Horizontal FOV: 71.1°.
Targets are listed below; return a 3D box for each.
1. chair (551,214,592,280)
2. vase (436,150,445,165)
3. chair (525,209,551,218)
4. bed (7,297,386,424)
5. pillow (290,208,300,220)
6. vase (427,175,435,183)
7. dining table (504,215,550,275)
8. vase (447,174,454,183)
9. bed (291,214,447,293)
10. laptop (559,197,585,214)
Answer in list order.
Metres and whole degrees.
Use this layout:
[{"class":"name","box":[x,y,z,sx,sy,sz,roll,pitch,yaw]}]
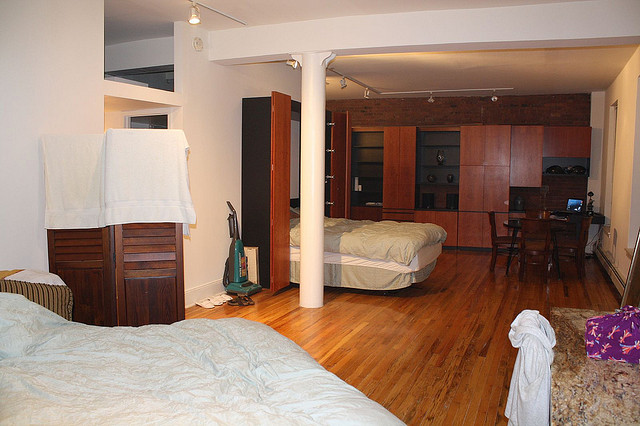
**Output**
[{"class":"chair","box":[4.254,0.542,7.541,0.541,1.064,0.976,7,12,31]},{"class":"vase","box":[2.773,-1.289,10.246,0.170,0.329,0.243,3,11,14]},{"class":"chair","box":[3.819,0.007,7.815,0.363,0.243,0.368,2,4,37]},{"class":"bed","box":[-0.940,0.866,2.667,2.324,0.334,0.993,1,10,6]},{"class":"pillow","box":[-0.425,0.028,7.298,0.148,0.128,0.108,-7,10,-30]},{"class":"vase","box":[2.548,-0.793,10.244,0.134,0.134,0.126,34,11,23]},{"class":"dining table","box":[3.423,0.497,7.835,0.920,1.028,0.935,-1,7,12]},{"class":"vase","box":[2.952,-0.792,10.163,0.144,0.159,0.142,-3,7,-27]},{"class":"bed","box":[0.796,0.617,6.620,1.460,0.570,1.502,1,6,19]},{"class":"laptop","box":[5.093,-0.145,8.959,0.406,0.345,0.476,-3,5,-31]}]
